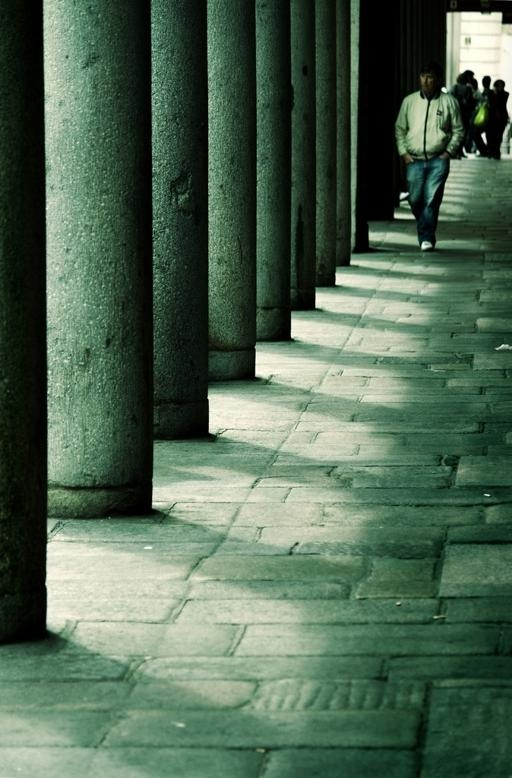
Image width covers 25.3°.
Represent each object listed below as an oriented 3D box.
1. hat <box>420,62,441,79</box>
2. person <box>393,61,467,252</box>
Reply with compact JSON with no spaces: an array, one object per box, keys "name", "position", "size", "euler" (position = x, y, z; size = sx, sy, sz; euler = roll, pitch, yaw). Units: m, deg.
[{"name":"hat","position":[2.239,-4.078,14.503],"size":[0.241,0.234,0.392],"euler":[-1,6,7]},{"name":"person","position":[2.295,-3.164,14.958],"size":[0.851,2.013,1.143],"euler":[-1,5,8]}]
